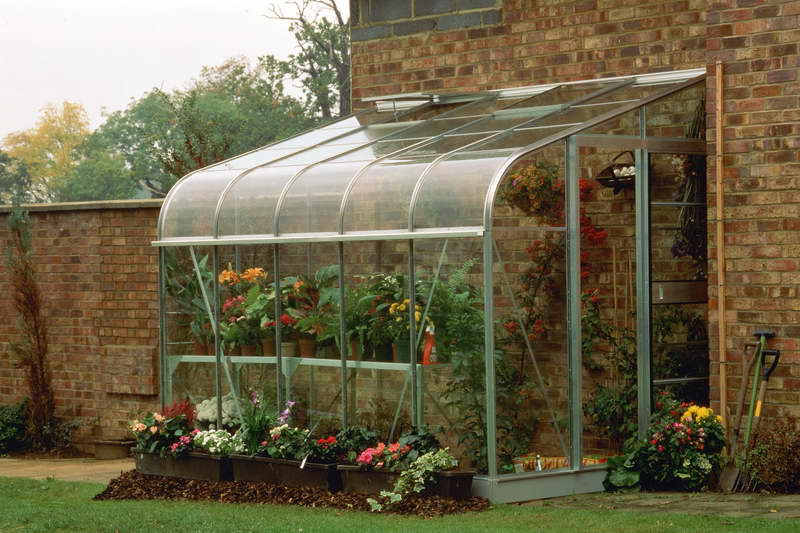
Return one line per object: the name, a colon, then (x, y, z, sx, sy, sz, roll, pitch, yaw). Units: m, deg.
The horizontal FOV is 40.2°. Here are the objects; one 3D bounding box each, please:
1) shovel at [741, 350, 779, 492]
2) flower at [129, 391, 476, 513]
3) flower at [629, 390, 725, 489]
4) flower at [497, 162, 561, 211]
shovel: (3.813, 1.606, 11.517, 0.280, 1.447, 0.483, 2, 10, 33)
flower: (-1.264, 2.139, 11.928, 2.904, 0.449, 1.581, -3, -1, 25)
flower: (3.057, 1.870, 12.129, 0.902, 1.022, 1.042, 0, 0, 9)
flower: (1.402, -0.836, 11.533, 0.563, 0.396, 0.552, -37, 39, -28)
